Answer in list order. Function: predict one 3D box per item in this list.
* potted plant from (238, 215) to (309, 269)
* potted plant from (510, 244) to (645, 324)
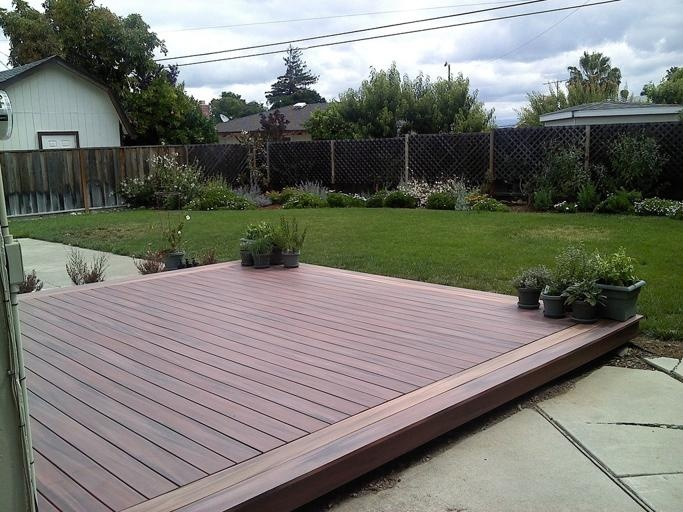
[{"bbox_3d":[-0.917,-0.170,6.242,0.764,0.604,0.529,-3,12,-12],"label":"potted plant"},{"bbox_3d":[2.034,0.240,4.187,1.006,0.560,0.536,4,12,22],"label":"potted plant"}]
